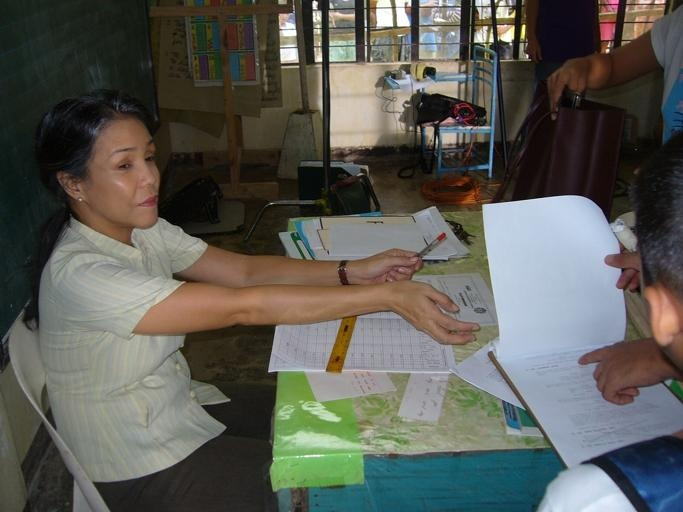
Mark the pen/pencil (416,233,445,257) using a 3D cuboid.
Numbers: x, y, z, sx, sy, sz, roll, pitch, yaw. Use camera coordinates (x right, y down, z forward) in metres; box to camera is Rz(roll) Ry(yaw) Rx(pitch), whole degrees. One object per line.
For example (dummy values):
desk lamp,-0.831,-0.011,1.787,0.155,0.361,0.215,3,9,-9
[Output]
pen/pencil,0.282,-0.031,1.596,0.094,0.024,0.025,-33,49,-9
